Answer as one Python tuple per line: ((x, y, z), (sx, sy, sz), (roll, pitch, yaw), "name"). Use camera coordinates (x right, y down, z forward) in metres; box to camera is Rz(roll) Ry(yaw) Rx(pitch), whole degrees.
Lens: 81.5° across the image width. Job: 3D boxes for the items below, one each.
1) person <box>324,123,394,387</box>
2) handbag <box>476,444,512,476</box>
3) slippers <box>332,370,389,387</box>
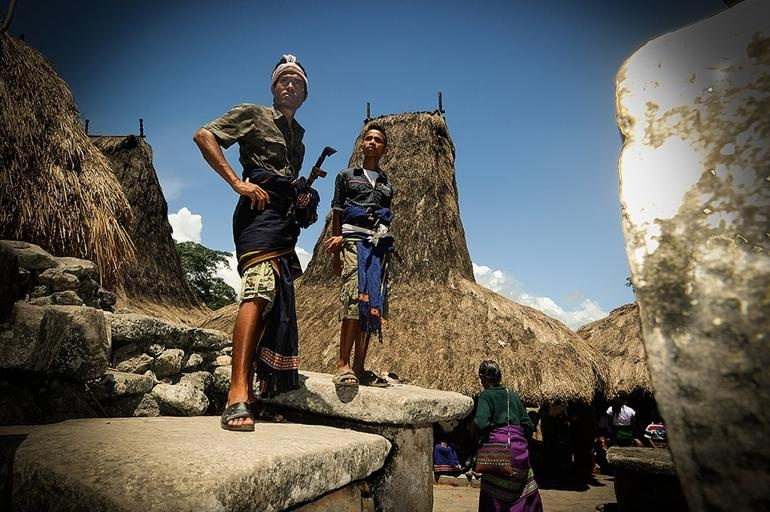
((-0.146, 0.072, 3.006), (0.518, 1.538, 0.540), (6, -14, -8), "person")
((0.937, 1.728, 3.779), (0.283, 0.231, 0.112), (-12, -51, 28), "handbag")
((-0.129, 0.790, 2.879), (0.240, 0.098, 0.555), (-1, -14, 20), "slippers")
